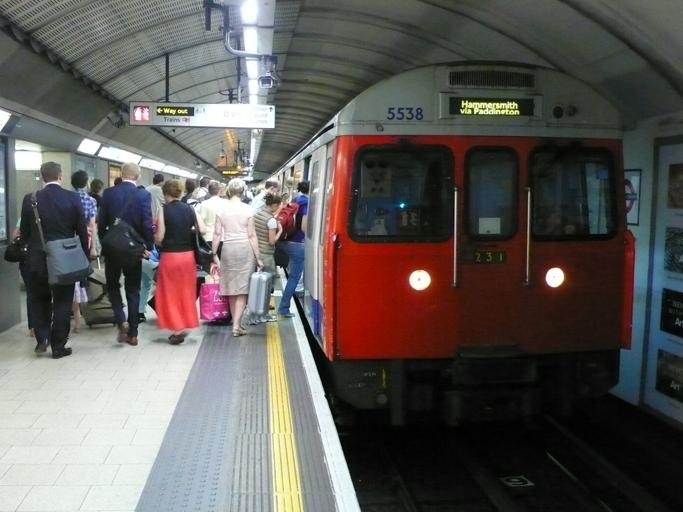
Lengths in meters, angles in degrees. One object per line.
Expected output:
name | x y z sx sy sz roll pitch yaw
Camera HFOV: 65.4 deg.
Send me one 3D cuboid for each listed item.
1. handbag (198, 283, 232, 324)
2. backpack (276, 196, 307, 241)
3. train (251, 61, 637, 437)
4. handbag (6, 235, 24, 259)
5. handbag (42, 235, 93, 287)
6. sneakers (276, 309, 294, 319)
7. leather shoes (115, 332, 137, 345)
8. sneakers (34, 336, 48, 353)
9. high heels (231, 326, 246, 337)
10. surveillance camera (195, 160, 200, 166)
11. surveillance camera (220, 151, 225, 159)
handbag | -2.135 0.777 8.956 0.248 0.607 0.620 -5 -5 24
backpack | -0.794 -0.579 8.757 0.731 0.784 0.484 -4 9 -29
train | 1.456 -0.302 10.344 3.204 3.945 10.109 0 2 -1
handbag | -4.394 -0.098 7.164 0.215 0.331 0.183 -7 11 -32
handbag | -3.645 0.054 7.036 0.312 0.639 0.615 -23 -9 34
sneakers | -1.002 1.005 9.422 0.283 0.205 0.098 -7 16 -26
leather shoes | -3.248 1.225 8.045 0.147 0.173 0.371 -1 10 -40
sneakers | -4.189 1.240 7.458 0.113 0.311 0.132 13 31 -38
high heels | -1.584 1.175 8.328 0.102 0.102 0.237 1 7 4
surveillance camera | -9.799 -6.350 36.297 0.087 0.312 0.338 6 6 34
surveillance camera | -9.120 -7.802 40.758 0.370 0.409 0.382 3 11 16
